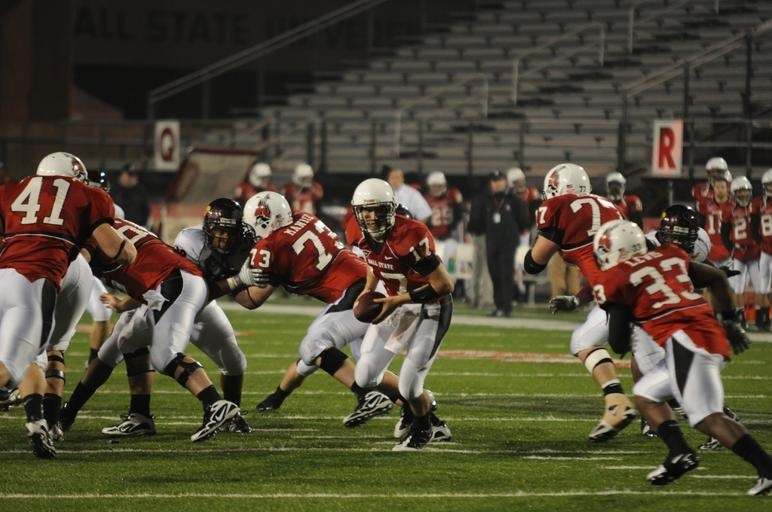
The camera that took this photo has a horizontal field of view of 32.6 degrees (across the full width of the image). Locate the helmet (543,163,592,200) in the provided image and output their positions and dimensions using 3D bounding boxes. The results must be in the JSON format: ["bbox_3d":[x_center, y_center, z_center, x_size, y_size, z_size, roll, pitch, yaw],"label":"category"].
[{"bbox_3d":[1.878,-0.788,13.760,0.349,0.392,0.431,-6,14,-42],"label":"helmet"}]

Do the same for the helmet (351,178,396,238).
[{"bbox_3d":[-0.087,-0.428,12.214,0.427,0.538,0.535,-2,-1,1],"label":"helmet"}]

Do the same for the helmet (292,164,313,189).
[{"bbox_3d":[-1.305,-1.282,21.188,0.347,0.385,0.403,0,3,-8],"label":"helmet"}]

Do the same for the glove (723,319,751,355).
[{"bbox_3d":[3.228,0.781,12.398,0.268,0.338,0.094,-35,9,-26],"label":"glove"}]

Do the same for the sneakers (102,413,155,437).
[{"bbox_3d":[-2.503,1.656,12.815,0.579,0.243,0.197,2,-9,-5],"label":"sneakers"}]

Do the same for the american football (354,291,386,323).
[{"bbox_3d":[-0.150,0.489,12.413,0.235,0.235,0.300,34,56,18],"label":"american football"}]

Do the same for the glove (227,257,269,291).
[{"bbox_3d":[-1.321,0.187,12.898,0.298,0.170,0.095,-23,-7,37],"label":"glove"}]

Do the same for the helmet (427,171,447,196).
[{"bbox_3d":[0.807,-1.113,20.461,0.306,0.331,0.378,-1,2,3],"label":"helmet"}]

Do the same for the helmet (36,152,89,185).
[{"bbox_3d":[-3.027,-0.810,12.409,0.418,0.302,0.455,0,13,-3],"label":"helmet"}]
